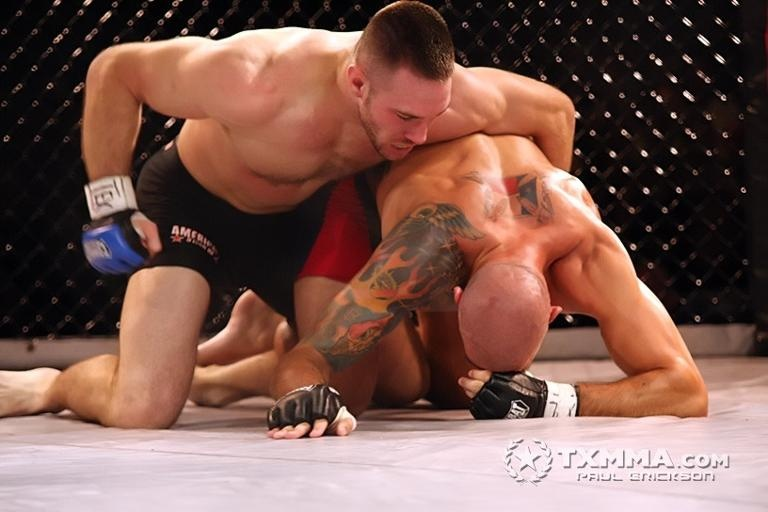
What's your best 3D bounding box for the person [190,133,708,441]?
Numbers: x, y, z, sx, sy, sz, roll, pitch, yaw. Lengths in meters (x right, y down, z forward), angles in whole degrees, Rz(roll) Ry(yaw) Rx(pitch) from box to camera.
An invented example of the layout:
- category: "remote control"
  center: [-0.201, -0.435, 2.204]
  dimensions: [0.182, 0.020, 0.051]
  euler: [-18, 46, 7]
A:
- category: "person"
  center: [0.150, 0.042, 2.435]
  dimensions: [1.285, 1.252, 1.065]
  euler: [-7, -11, -12]
